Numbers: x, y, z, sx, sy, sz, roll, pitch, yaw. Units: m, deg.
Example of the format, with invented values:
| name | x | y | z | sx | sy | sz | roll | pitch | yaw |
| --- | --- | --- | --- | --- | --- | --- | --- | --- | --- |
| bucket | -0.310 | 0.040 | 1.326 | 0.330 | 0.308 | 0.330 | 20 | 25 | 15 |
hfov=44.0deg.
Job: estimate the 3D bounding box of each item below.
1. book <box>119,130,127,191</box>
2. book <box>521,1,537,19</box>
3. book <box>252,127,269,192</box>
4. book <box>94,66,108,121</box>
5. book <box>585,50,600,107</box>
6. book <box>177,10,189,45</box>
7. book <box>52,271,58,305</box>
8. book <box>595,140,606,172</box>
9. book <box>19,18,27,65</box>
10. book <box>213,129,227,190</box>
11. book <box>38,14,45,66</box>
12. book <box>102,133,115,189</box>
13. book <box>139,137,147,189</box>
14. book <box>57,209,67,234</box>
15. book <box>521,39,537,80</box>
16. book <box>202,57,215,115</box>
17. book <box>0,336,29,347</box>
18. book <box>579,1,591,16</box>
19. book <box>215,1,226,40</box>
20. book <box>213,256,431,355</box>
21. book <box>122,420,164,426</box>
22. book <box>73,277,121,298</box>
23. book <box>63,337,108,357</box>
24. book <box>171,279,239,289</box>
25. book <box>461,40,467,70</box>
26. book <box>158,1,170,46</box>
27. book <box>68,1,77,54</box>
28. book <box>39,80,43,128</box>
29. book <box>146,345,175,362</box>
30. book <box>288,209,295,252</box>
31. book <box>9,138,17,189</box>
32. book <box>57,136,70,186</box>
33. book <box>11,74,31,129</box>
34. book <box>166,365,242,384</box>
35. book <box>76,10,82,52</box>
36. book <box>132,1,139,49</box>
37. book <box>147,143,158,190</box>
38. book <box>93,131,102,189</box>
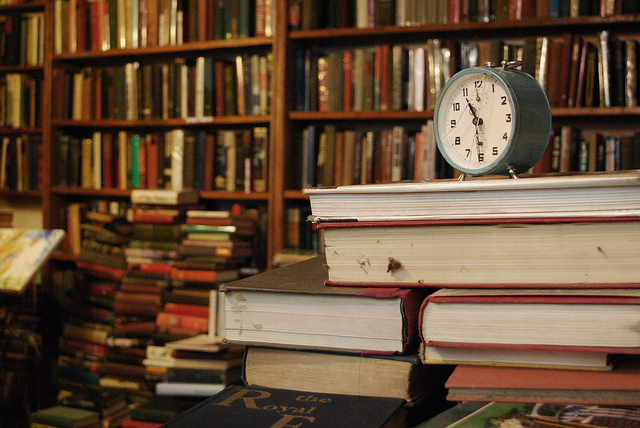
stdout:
| name | x | y | z | sx | sy | sz | roll | pitch | yaw |
| --- | --- | --- | --- | --- | --- | --- | --- | --- | --- |
| book | -0.978 | -0.260 | 3.935 | 0.036 | 0.293 | 0.065 | 0 | -7 | -16 |
| book | 0.885 | -0.871 | 3.366 | 0.079 | 0.069 | 0.017 | -4 | 4 | -8 |
| book | -0.279 | -0.254 | 3.690 | 0.101 | 0.294 | 0.056 | -4 | -7 | 12 |
| book | -1.119 | -0.601 | 3.997 | 0.037 | 0.268 | 0.087 | 0 | -7 | -19 |
| book | 1.132 | -0.569 | 3.313 | 0.057 | 0.225 | 0.048 | -3 | -7 | 7 |
| book | -0.653 | -0.894 | 3.778 | 0.053 | 0.157 | 0.052 | -1 | -7 | -10 |
| book | -1.368 | 0.379 | 4.082 | 0.047 | 0.171 | 0.024 | -6 | -8 | 31 |
| book | 1.187 | -0.254 | 3.362 | 0.050 | 0.132 | 0.032 | -3 | -7 | 8 |
| book | -1.554 | -0.906 | 4.151 | 0.037 | 0.231 | 0.063 | 1 | -7 | -20 |
| book | -0.479 | -0.256 | 3.764 | 0.087 | 0.276 | 0.052 | -4 | -7 | 14 |
| book | -1.464 | -0.926 | 4.162 | 0.030 | 0.330 | 0.181 | 0 | -7 | -20 |
| book | -1.064 | -0.269 | 3.976 | 0.072 | 0.279 | 0.042 | -3 | -7 | 4 |
| book | -0.869 | -0.254 | 3.890 | 0.056 | 0.256 | 0.036 | -3 | -7 | 9 |
| book | -1.329 | 0.025 | 4.092 | 0.029 | 0.104 | 0.111 | 2 | 7 | -12 |
| book | 0.887 | -0.669 | 3.377 | 0.059 | 0.175 | 0.088 | -2 | -7 | -1 |
| book | -0.523 | -0.607 | 3.748 | 0.047 | 0.263 | 0.075 | -1 | -7 | -12 |
| book | -1.535 | 0.638 | 3.985 | 0.137 | 0.058 | 0.041 | -2 | -7 | 4 |
| book | 1.108 | -0.865 | 3.314 | 0.060 | 0.053 | 0.014 | -4 | -1 | 10 |
| book | -0.466 | -0.916 | 3.716 | 0.066 | 0.153 | 0.176 | 0 | 7 | -3 |
| book | 0.042 | 0.246 | 2.261 | 0.604 | 0.141 | 0.591 | 1 | 4 | 23 |
| book | -0.720 | 0.834 | 3.152 | 0.074 | 0.015 | 0.070 | -2 | -7 | 2 |
| book | -1.068 | 0.352 | 3.795 | 0.148 | 0.030 | 0.141 | 5 | 4 | 13 |
| book | -1.119 | 0.628 | 3.778 | 0.253 | 0.087 | 0.032 | -5 | -8 | 29 |
| book | -0.552 | 0.317 | 3.556 | 0.208 | 0.038 | 0.199 | 1 | 1 | 18 |
| book | 0.621 | -0.692 | 3.434 | 0.027 | 0.119 | 0.032 | -2 | -7 | -1 |
| book | -0.745 | -0.924 | 3.804 | 0.071 | 0.205 | 0.049 | -4 | -7 | 12 |
| book | -1.256 | -0.946 | 4.028 | 0.038 | 0.266 | 0.087 | 0 | -7 | -20 |
| book | -1.450 | -0.578 | 4.119 | 0.012 | 0.252 | 0.073 | 1 | -8 | -24 |
| book | -0.717 | 0.622 | 3.541 | 0.146 | 0.031 | 0.137 | 1 | 4 | 2 |
| book | -0.133 | 0.067 | 3.677 | 0.043 | 0.181 | 0.021 | -5 | -8 | 21 |
| book | -1.614 | -0.268 | 4.171 | 0.038 | 0.262 | 0.074 | 0 | -7 | -20 |
| book | -1.315 | -0.272 | 4.063 | 0.057 | 0.248 | 0.084 | 0 | -7 | -18 |
| book | -1.577 | -0.602 | 4.162 | 0.131 | 0.285 | 0.049 | -7 | -8 | 34 |
| book | -0.459 | 0.624 | 3.066 | 0.242 | 0.049 | 0.234 | -2 | -4 | 25 |
| book | -1.221 | -0.934 | 4.016 | 0.027 | 0.205 | 0.049 | 0 | -7 | -16 |
| book | -0.899 | -0.925 | 3.863 | 0.029 | 0.226 | 0.068 | 0 | -7 | -15 |
| book | -0.819 | -0.237 | 3.872 | 0.084 | 0.220 | 0.031 | -7 | -9 | 35 |
| book | -1.123 | -0.269 | 4.001 | 0.042 | 0.288 | 0.068 | 0 | -7 | -19 |
